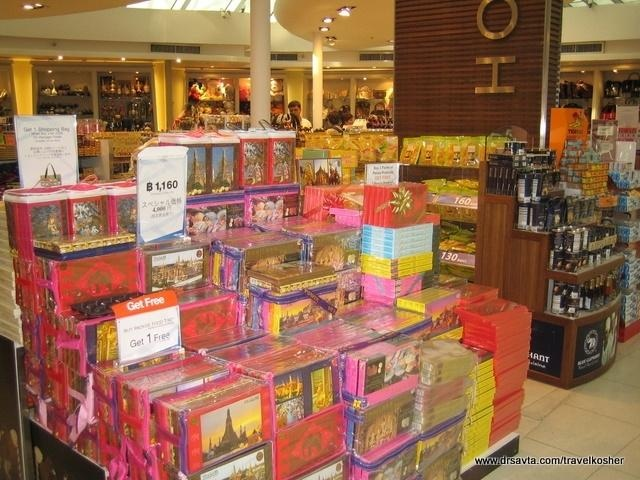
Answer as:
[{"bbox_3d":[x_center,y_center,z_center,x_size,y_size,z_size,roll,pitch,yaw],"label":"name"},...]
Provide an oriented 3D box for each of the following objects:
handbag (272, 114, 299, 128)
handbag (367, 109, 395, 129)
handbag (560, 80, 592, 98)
[{"bbox_3d":[-0.549,-1.891,7.516,0.321,0.159,0.455,0,14,-1],"label":"handbag"},{"bbox_3d":[1.722,-3.452,13.348,0.676,0.607,2.158,3,12,5],"label":"handbag"},{"bbox_3d":[6.879,-3.981,12.447,0.762,0.448,0.253,6,12,18],"label":"handbag"}]
